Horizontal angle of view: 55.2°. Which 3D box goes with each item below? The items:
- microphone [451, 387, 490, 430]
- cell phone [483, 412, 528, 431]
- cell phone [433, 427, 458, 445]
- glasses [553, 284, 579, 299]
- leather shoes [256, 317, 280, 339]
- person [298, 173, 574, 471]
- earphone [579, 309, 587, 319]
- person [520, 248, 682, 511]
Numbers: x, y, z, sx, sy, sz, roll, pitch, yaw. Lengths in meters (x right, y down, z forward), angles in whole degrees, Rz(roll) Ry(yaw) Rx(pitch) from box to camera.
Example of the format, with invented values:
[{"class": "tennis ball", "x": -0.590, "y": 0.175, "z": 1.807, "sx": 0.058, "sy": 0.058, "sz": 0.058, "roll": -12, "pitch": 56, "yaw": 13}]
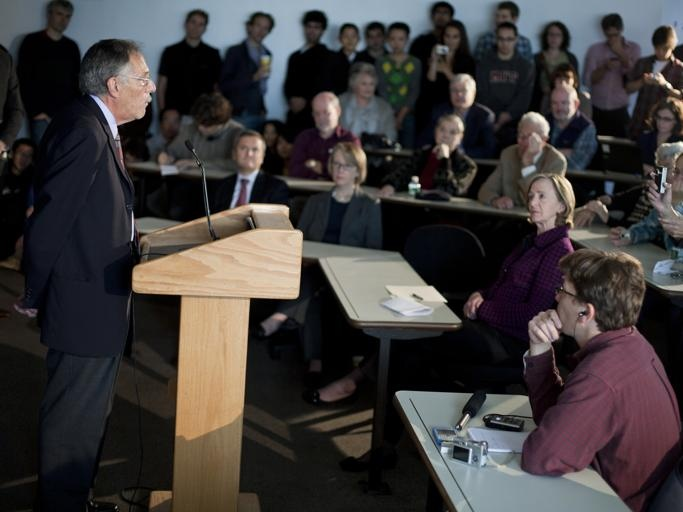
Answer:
[{"class": "microphone", "x": 0.433, "y": 0.510, "z": 2.184, "sx": 0.049, "sy": 0.048, "sz": 0.266, "roll": 24, "pitch": 28, "yaw": 14}, {"class": "cell phone", "x": 0.530, "y": 0.541, "z": 2.144, "sx": 0.085, "sy": 0.024, "sz": 0.063, "roll": 2, "pitch": 8, "yaw": 19}, {"class": "cell phone", "x": 0.321, "y": 0.563, "z": 2.058, "sx": 0.079, "sy": 0.036, "sz": 0.086, "roll": 11, "pitch": 16, "yaw": 10}, {"class": "glasses", "x": 0.763, "y": 0.121, "z": 2.219, "sx": 0.094, "sy": 0.031, "sz": 0.093, "roll": 7, "pitch": 10, "yaw": -18}, {"class": "leather shoes", "x": -0.429, "y": 0.414, "z": 3.911, "sx": 0.083, "sy": 0.160, "sz": 0.064, "roll": 48, "pitch": -7, "yaw": -10}, {"class": "person", "x": 0.520, "y": 0.273, "z": 3.341, "sx": 1.216, "sy": 1.565, "sz": 0.570, "roll": 8, "pitch": 3, "yaw": -8}, {"class": "earphone", "x": 0.767, "y": 0.185, "z": 2.082, "sx": 0.016, "sy": 0.008, "sz": 0.023, "roll": 16, "pitch": -29, "yaw": -8}, {"class": "person", "x": 0.820, "y": 0.382, "z": 2.016, "sx": 0.518, "sy": 0.718, "sz": 0.435, "roll": 12, "pitch": 16, "yaw": 17}]
